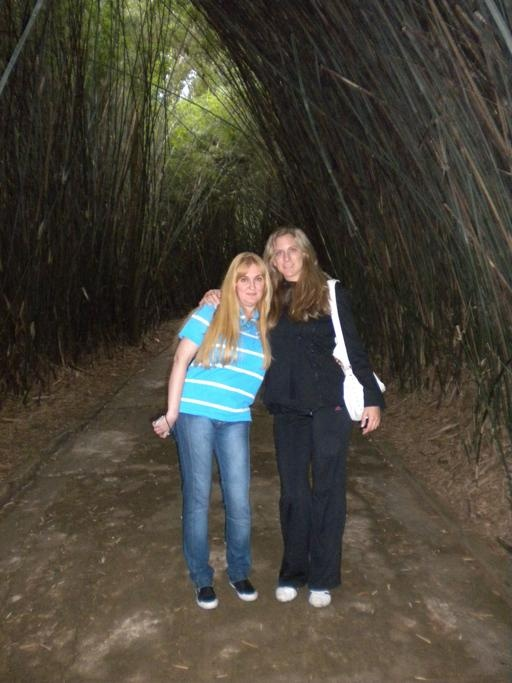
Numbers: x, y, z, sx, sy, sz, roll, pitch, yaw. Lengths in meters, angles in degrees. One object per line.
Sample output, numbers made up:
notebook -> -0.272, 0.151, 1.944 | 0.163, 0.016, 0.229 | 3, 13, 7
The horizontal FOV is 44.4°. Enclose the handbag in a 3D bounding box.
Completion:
handbag -> 0.348, 0.146, 2.164 | 0.137, 0.318, 0.071 | -9, -6, -21

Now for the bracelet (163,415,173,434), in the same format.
bracelet -> -0.302, 0.296, 2.149 | 0.025, 0.027, 0.054 | 4, 0, 3

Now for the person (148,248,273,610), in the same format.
person -> -0.144, 0.288, 2.160 | 0.413, 1.173, 0.313 | -1, 6, -10
